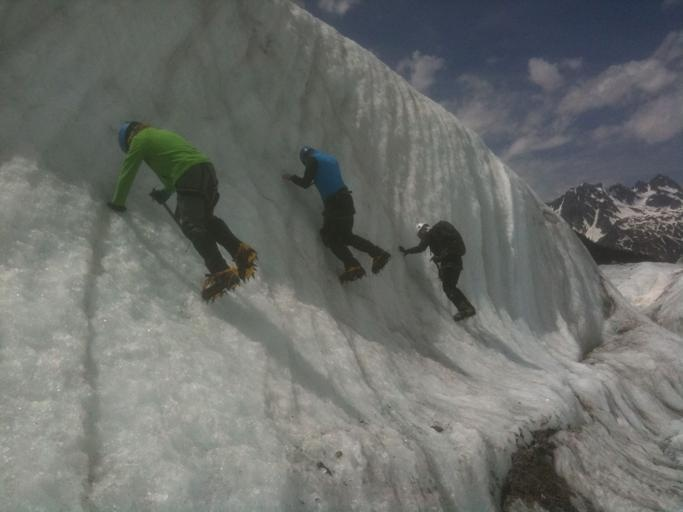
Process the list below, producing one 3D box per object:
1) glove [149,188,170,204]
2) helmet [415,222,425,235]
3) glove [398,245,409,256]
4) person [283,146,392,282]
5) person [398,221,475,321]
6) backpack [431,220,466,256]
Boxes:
[{"bbox_3d":[-2.455,-0.821,8.187,0.257,0.088,0.194,29,74,2],"label":"glove"},{"bbox_3d":[1.401,-0.537,10.874,0.184,0.201,0.141,4,20,-35],"label":"helmet"},{"bbox_3d":[1.061,-0.107,10.551,0.132,0.144,0.039,5,59,32],"label":"glove"},{"bbox_3d":[-0.101,-0.547,9.286,1.881,1.471,0.584,33,30,9],"label":"person"},{"bbox_3d":[1.598,0.280,10.623,1.064,0.821,1.841,-18,63,13],"label":"person"},{"bbox_3d":[1.839,-0.362,10.560,0.426,0.605,0.603,-2,16,4],"label":"backpack"}]
